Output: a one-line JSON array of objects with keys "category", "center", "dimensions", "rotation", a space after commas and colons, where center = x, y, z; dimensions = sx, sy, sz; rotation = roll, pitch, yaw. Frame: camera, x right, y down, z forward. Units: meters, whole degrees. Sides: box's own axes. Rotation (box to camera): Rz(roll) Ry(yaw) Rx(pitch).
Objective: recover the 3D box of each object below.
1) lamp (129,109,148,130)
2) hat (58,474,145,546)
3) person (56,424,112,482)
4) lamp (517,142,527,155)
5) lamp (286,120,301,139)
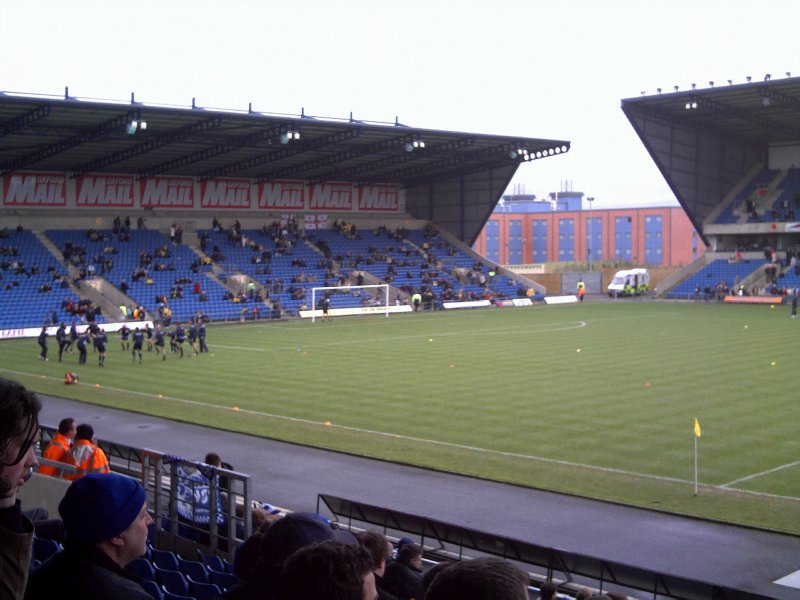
[{"category": "lamp", "center": [-12.386, -8.282, 38.450], "dimensions": [0.689, 1.117, 1.122], "rotation": [-1, -2, -35]}, {"category": "hat", "center": [-1.611, 1.121, 4.468], "dimensions": [0.405, 0.282, 0.340], "rotation": [5, 6, 14]}, {"category": "person", "center": [-4.430, 2.219, 11.202], "dimensions": [0.766, 1.141, 0.403], "rotation": [9, 34, -22]}, {"category": "lamp", "center": [8.208, -10.006, 54.145], "dimensions": [0.586, 0.520, 1.390], "rotation": [0, 4, 13]}, {"category": "lamp", "center": [-5.749, -9.266, 43.930], "dimensions": [0.907, 0.892, 1.640], "rotation": [-1, 21, 4]}]
